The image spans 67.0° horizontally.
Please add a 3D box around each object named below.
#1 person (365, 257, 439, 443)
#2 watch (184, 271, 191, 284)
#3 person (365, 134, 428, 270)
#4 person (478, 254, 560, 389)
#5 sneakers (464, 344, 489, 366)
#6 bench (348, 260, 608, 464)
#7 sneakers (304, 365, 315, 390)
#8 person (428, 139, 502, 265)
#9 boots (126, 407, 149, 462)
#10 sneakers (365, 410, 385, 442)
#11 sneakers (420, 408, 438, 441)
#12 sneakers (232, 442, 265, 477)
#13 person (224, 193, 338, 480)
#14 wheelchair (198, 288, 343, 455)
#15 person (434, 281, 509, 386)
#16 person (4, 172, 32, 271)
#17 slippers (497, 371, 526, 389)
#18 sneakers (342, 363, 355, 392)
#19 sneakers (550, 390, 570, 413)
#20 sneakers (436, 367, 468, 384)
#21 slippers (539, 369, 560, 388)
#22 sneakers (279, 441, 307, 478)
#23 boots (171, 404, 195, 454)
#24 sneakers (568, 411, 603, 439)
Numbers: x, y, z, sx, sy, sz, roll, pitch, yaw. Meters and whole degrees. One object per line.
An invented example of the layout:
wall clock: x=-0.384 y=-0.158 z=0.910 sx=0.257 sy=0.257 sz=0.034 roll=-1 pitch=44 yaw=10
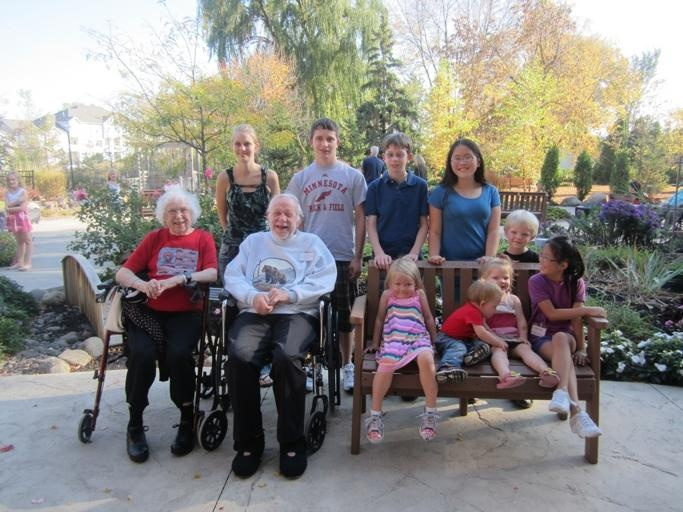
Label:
person: x=0.457 y=0.605 z=3.844 sx=0.531 sy=1.055 sz=1.278 roll=0 pitch=13 yaw=9
watch: x=-1.186 y=0.169 z=3.953 sx=0.048 sy=0.071 sz=0.076 roll=0 pitch=47 yaw=-45
person: x=0.478 y=-0.508 z=4.440 sx=0.566 sy=1.071 sz=0.361 roll=1 pitch=5 yaw=2
person: x=1.246 y=0.479 z=3.841 sx=0.343 sy=0.816 sz=1.068 roll=-4 pitch=12 yaw=5
sneakers: x=0.985 y=0.722 z=3.745 sx=0.151 sy=0.063 sz=0.069 roll=-34 pitch=5 yaw=2
bench: x=0.975 y=0.752 z=4.001 sx=1.764 sy=1.370 sz=0.786 roll=1 pitch=4 yaw=5
sneakers: x=-0.286 y=1.101 z=4.586 sx=0.109 sy=0.158 sz=0.379 roll=-1 pitch=-6 yaw=-4
person: x=1.061 y=-0.473 z=4.436 sx=0.597 sy=1.016 sz=0.250 roll=1 pitch=5 yaw=8
boots: x=-1.493 y=1.325 z=3.759 sx=0.146 sy=0.284 sz=0.393 roll=1 pitch=-2 yaw=-23
sneakers: x=0.248 y=1.211 z=3.707 sx=0.113 sy=0.130 sz=0.258 roll=1 pitch=0 yaw=2
sneakers: x=0.648 y=1.230 z=3.804 sx=0.139 sy=0.141 sz=0.318 roll=4 pitch=-8 yaw=10
sneakers: x=-0.662 y=1.428 z=3.580 sx=0.099 sy=0.114 sz=0.272 roll=2 pitch=-7 yaw=8
person: x=-0.478 y=0.519 z=3.831 sx=0.836 sy=1.948 sz=0.797 roll=1 pitch=5 yaw=1
wheelchair: x=-0.621 y=0.925 z=4.174 sx=1.024 sy=1.674 sz=1.194 roll=0 pitch=-12 yaw=2
person: x=0.920 y=0.526 z=3.904 sx=0.461 sy=0.670 sz=0.820 roll=6 pitch=12 yaw=43
person: x=-6.157 y=-0.654 z=9.815 sx=0.390 sy=1.807 sz=0.893 roll=-2 pitch=5 yaw=-32
slippers: x=1.184 y=0.872 z=3.597 sx=0.188 sy=0.094 sz=0.058 roll=-6 pitch=28 yaw=-36
sneakers: x=0.059 y=1.105 z=4.682 sx=0.101 sy=0.327 sz=0.134 roll=-2 pitch=-18 yaw=3
sneakers: x=1.488 y=0.981 z=3.512 sx=0.134 sy=0.140 sz=0.161 roll=2 pitch=4 yaw=19
sneakers: x=0.771 y=0.820 z=3.585 sx=0.204 sy=0.099 sz=0.099 roll=0 pitch=8 yaw=8
slippers: x=1.440 y=0.852 z=3.566 sx=0.127 sy=0.134 sz=0.074 roll=2 pitch=5 yaw=16
sneakers: x=-0.329 y=1.404 z=3.598 sx=0.210 sy=0.216 sz=0.179 roll=0 pitch=4 yaw=-14
boots: x=-1.162 y=1.311 z=3.819 sx=0.122 sy=0.158 sz=0.378 roll=0 pitch=2 yaw=-3
sneakers: x=1.692 y=1.162 z=3.574 sx=0.127 sy=0.141 sz=0.228 roll=-9 pitch=2 yaw=-8
